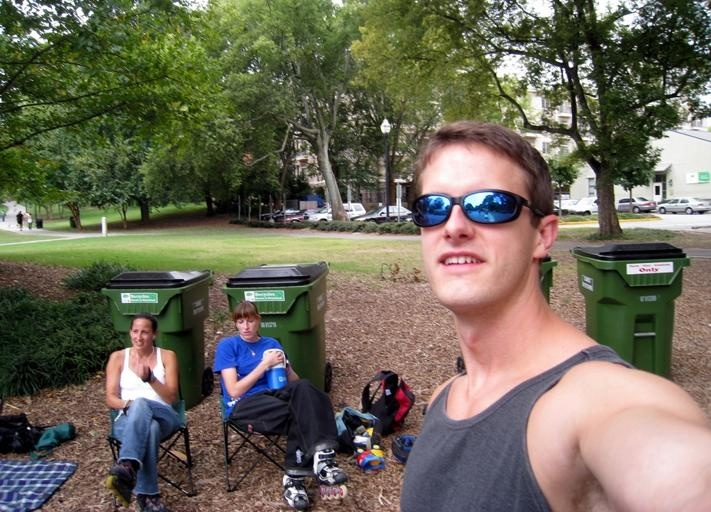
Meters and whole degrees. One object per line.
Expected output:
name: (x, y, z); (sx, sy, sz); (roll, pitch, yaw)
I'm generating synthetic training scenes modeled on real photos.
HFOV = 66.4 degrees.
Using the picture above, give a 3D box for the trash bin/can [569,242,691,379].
trash bin/can: (2.890, 0.474, 6.149); (1.215, 1.508, 1.033); (3, 6, 8)

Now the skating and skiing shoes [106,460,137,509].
skating and skiing shoes: (-1.698, 1.715, 4.048); (0.153, 0.396, 0.200); (-4, 22, -6)

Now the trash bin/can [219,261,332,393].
trash bin/can: (-0.793, 0.597, 5.961); (1.265, 1.437, 0.861); (0, 2, 12)

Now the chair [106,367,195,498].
chair: (-1.715, 1.406, 4.498); (0.613, 1.034, 1.113); (-4, 4, -23)

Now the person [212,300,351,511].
person: (-0.684, 1.192, 4.711); (0.809, 1.536, 1.370); (-5, 5, -34)

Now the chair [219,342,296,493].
chair: (-0.911, 1.454, 4.950); (0.656, 1.030, 0.631); (2, 11, -28)

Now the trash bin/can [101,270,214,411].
trash bin/can: (-2.228, 0.918, 6.209); (1.188, 1.557, 1.029); (3, 7, -9)

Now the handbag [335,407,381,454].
handbag: (0.006, 1.663, 5.239); (0.338, 0.172, 0.421); (4, 0, 0)

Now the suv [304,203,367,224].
suv: (-1.435, -3.123, 39.365); (3.890, 1.511, 2.079); (1, 4, 0)
